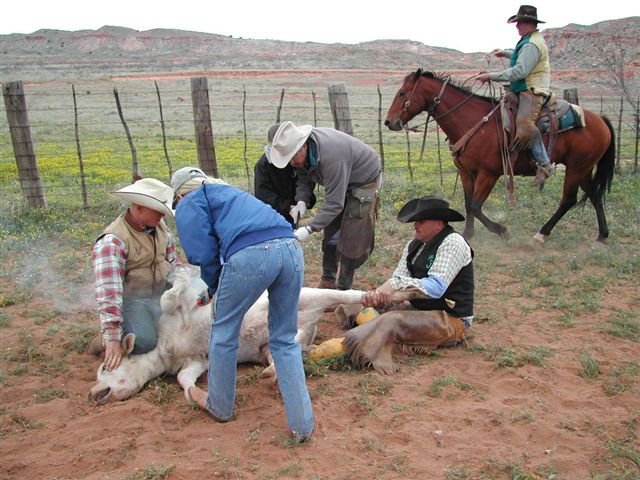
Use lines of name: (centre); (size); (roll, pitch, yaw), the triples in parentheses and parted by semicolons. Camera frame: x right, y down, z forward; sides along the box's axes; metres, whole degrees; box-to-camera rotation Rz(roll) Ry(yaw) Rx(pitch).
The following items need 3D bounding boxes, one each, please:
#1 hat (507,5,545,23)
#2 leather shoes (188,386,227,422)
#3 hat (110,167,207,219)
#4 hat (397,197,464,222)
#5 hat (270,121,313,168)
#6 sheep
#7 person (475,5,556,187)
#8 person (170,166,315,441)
hat: (3.111, -3.463, 8.355); (0.437, 0.268, 1.044); (4, 17, 18)
leather shoes: (-1.069, 1.527, 5.056); (0.386, 0.093, 0.215); (38, 12, 16)
hat: (-1.524, -0.428, 5.213); (0.685, 0.280, 0.592); (1, 12, 35)
hat: (1.205, -0.301, 5.865); (0.497, 0.168, 0.365); (-2, -2, -18)
hat: (-0.313, -1.007, 5.798); (0.496, 0.497, 0.347); (-8, 19, -19)
sheep: (-0.652, 1.061, 5.379); (2.008, 0.460, 0.767); (-13, 11, -24)
person: (3.264, -2.277, 8.847); (1.027, 2.829, 0.809); (13, 23, 37)
person: (-0.650, 0.545, 4.797); (1.287, 2.286, 0.635); (4, 19, 18)
